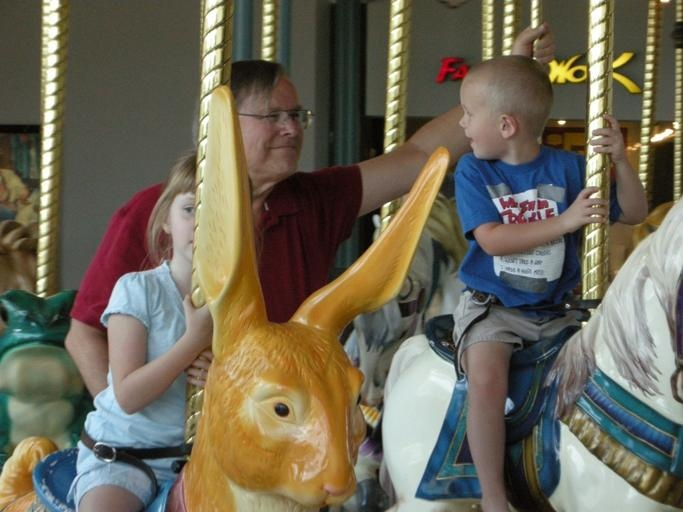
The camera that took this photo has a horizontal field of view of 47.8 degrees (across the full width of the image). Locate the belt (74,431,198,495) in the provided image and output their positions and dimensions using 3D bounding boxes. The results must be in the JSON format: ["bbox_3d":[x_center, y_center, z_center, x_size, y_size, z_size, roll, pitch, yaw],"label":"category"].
[{"bbox_3d":[-0.629,0.627,2.351,0.246,0.087,0.191,23,-4,-27],"label":"belt"}]
